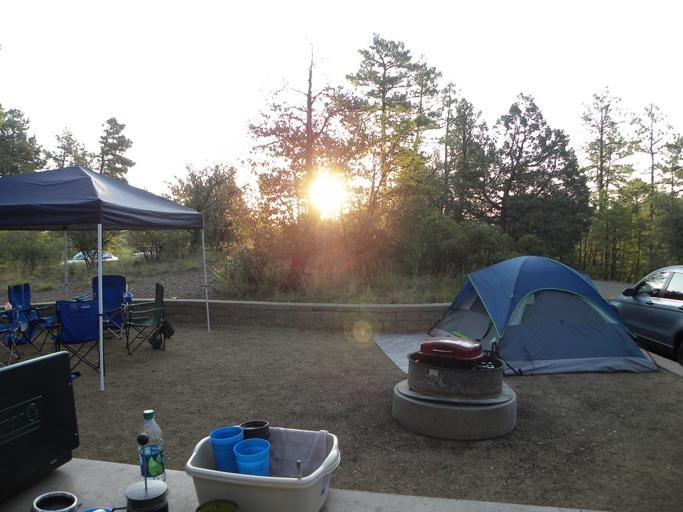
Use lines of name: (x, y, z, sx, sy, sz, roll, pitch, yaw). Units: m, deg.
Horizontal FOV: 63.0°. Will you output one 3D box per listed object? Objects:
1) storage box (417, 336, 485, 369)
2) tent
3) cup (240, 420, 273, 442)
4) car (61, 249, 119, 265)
storage box: (1.517, 1.365, 7.827, 0.886, 0.374, 0.276, -2, 5, 10)
tent: (3.572, 1.010, 9.570, 2.759, 1.981, 1.121, -2, 5, 4)
cup: (-0.931, 1.968, 6.197, 0.206, 0.152, 0.231, -2, -13, 7)
car: (-12.169, 0.083, 26.820, 2.461, 0.977, 1.107, 2, 1, -11)
